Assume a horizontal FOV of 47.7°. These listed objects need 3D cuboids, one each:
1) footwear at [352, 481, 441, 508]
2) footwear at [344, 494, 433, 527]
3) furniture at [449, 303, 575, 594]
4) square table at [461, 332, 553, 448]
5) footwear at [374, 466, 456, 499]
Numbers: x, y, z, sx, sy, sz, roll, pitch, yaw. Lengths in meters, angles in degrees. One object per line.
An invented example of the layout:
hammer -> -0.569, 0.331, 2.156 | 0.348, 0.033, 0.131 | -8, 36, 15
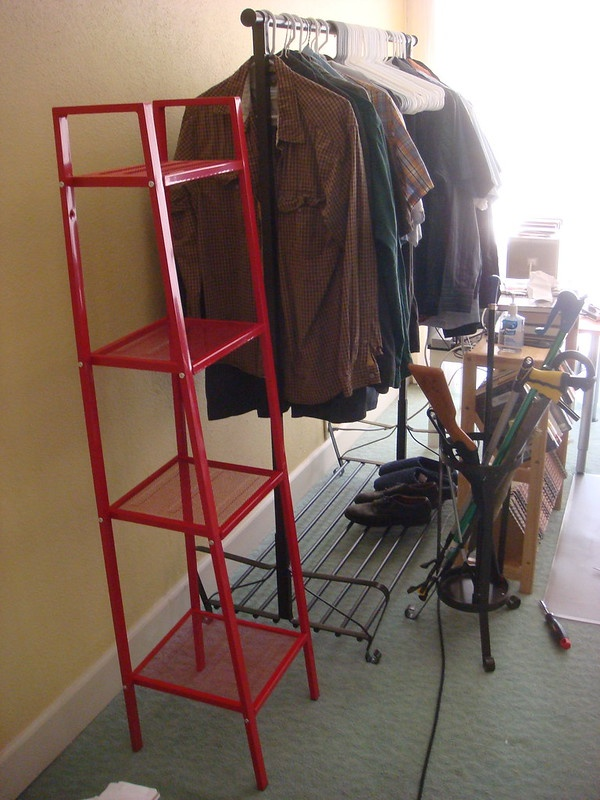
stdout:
footwear -> 0.394, 0.363, 2.721 | 0.365, 0.134, 0.122 | -1, 13, 13
footwear -> 0.369, 0.439, 2.740 | 0.366, 0.154, 0.136 | 2, 14, 10
furniture -> 0.677, 0.168, 2.166 | 0.273, 0.816, 0.851 | 5, 16, 20
square table -> 0.773, -0.046, 2.320 | 0.280, 0.417, 0.306 | 6, 20, 21
footwear -> 0.444, 0.345, 2.752 | 0.340, 0.124, 0.123 | 4, 24, 41
